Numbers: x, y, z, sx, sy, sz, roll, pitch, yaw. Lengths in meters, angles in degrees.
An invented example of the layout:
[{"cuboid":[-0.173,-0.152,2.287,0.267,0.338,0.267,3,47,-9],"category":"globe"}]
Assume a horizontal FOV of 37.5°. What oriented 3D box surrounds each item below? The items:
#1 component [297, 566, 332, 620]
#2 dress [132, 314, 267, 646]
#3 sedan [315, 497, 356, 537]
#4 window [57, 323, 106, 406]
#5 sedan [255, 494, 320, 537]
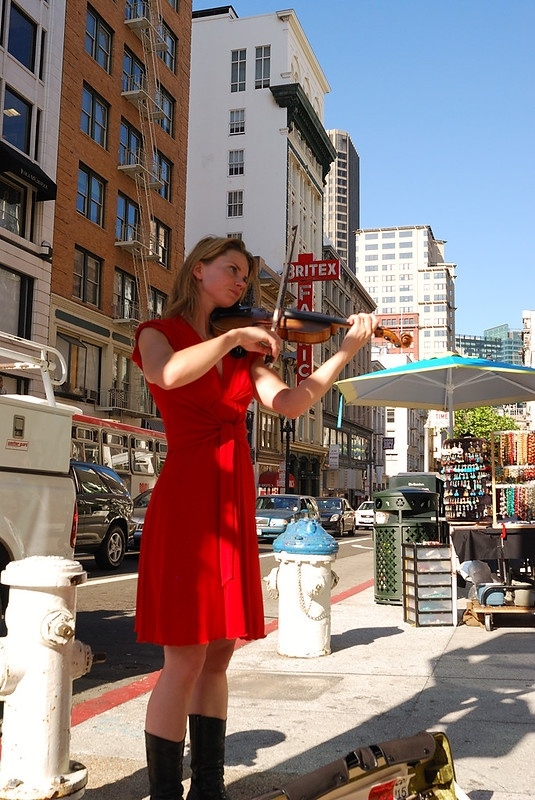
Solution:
[{"cuboid":[0.361,1.513,6.217,0.354,0.583,0.373,0,-12,0],"category":"component"},{"cuboid":[-0.222,0.306,2.577,0.417,0.956,0.324,0,-6,-9],"category":"dress"},{"cuboid":[2.827,4.890,33.012,1.088,0.956,2.542,-4,-16,13],"category":"sedan"},{"cuboid":[-6.624,-1.130,28.694,0.372,2.440,3.479,-9,-13,21],"category":"window"},{"cuboid":[0.479,3.329,23.870,1.642,1.392,3.465,-4,-14,17],"category":"sedan"}]
